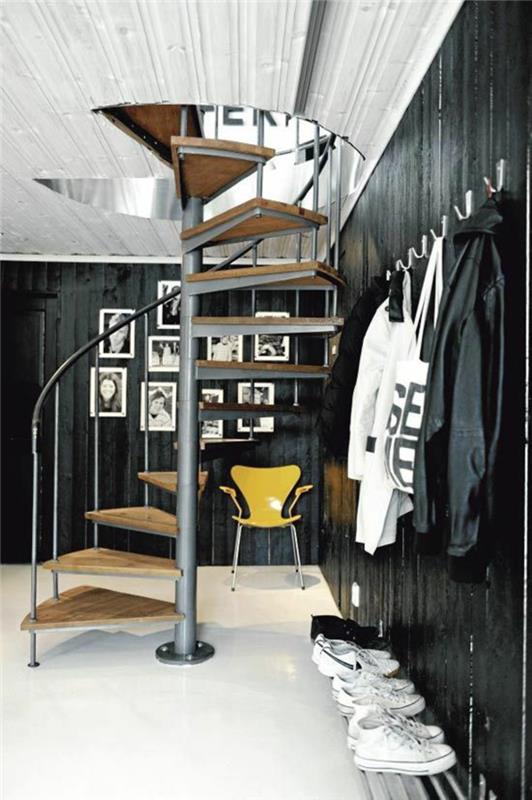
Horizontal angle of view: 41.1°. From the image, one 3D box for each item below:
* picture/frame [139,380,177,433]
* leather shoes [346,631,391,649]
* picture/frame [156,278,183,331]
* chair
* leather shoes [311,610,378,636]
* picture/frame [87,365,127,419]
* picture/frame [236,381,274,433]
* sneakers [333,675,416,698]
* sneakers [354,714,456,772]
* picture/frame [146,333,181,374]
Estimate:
[{"bbox_3d":[-0.799,0.061,5.197,0.328,0.529,0.048,0,-3,-6],"label":"picture/frame"},{"bbox_3d":[0.416,0.979,2.895,0.174,0.080,0.064,0,1,12],"label":"leather shoes"},{"bbox_3d":[-0.742,-0.723,5.372,0.162,0.297,0.145,0,0,-12],"label":"picture/frame"},{"bbox_3d":[0.002,0.871,4.961,0.761,1.109,0.696,0,-16,-2],"label":"chair"},{"bbox_3d":[0.339,0.967,3.019,0.297,0.141,0.110,-1,0,5],"label":"leather shoes"},{"bbox_3d":[-1.168,-0.042,5.177,0.345,0.560,0.021,0,-4,-6],"label":"picture/frame"},{"bbox_3d":[-0.083,0.057,4.782,0.328,0.533,0.036,0,-4,-5],"label":"picture/frame"},{"bbox_3d":[0.369,0.975,2.472,0.280,0.119,0.109,-4,-8,7],"label":"sneakers"},{"bbox_3d":[0.400,1.007,2.066,0.281,0.155,0.183,-4,-21,14],"label":"sneakers"},{"bbox_3d":[-0.751,-0.341,5.142,0.308,0.396,0.038,1,0,-5],"label":"picture/frame"}]
